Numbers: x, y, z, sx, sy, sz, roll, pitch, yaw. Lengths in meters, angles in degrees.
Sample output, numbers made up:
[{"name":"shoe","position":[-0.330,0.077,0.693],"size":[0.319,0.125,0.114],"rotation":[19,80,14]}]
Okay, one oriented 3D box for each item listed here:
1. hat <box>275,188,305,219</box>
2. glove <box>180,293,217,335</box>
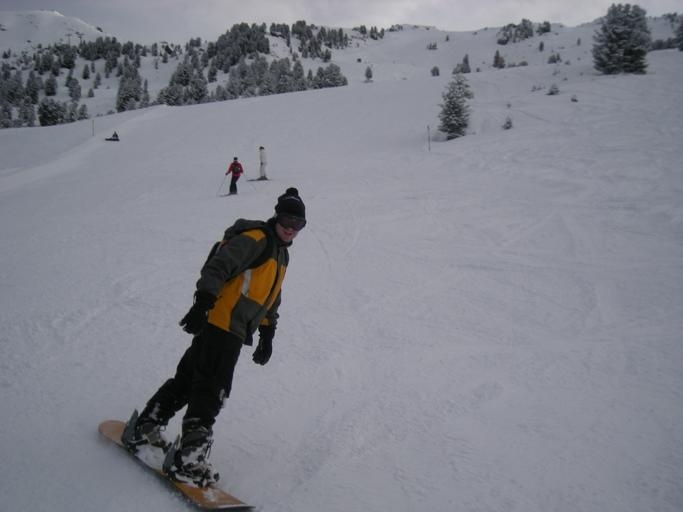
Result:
[{"name":"hat","position":[-0.721,-0.774,8.375],"size":[0.312,0.431,0.466],"rotation":[15,-2,-18]},{"name":"glove","position":[-1.903,0.743,7.866],"size":[0.353,0.587,0.235],"rotation":[34,-8,-3]}]
